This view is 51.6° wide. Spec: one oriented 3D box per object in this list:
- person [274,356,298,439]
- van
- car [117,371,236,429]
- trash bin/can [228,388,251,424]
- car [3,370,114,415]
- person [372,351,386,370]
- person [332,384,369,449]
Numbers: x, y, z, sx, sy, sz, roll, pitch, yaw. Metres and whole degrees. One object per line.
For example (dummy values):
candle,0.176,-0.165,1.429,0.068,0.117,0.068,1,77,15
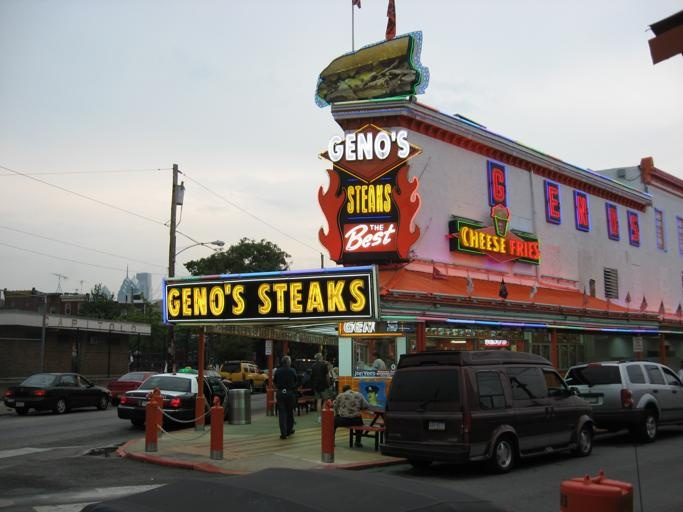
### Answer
person,-1.579,4.115,19.738,0.611,1.991,0.819,0,-11,4
van,3.727,3.544,16.340,5.469,2.637,1.987,7,-12,-27
car,-5.055,4.545,23.243,1.993,1.080,3.545,-1,-2,23
trash bin/can,-3.368,4.981,23.286,0.761,1.161,0.755,-8,-13,31
car,-11.480,5.758,29.386,1.747,1.664,4.434,-5,-13,27
person,1.311,3.803,25.186,0.622,0.781,0.414,-1,4,-12
person,0.135,4.289,18.994,0.975,1.682,0.942,1,-8,8
